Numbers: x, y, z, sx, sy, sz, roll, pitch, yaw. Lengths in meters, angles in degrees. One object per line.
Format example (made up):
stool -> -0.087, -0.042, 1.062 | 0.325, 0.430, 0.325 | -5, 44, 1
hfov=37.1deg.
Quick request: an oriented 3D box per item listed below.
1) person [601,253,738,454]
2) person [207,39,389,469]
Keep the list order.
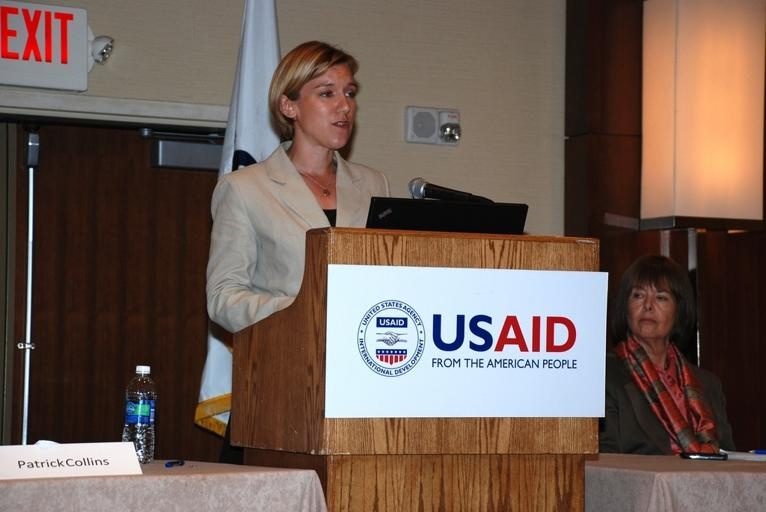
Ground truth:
person -> 1.309, 0.446, 5.265 | 0.564, 0.900, 0.577 | 1, -1, 16
person -> -0.363, -0.051, 4.459 | 0.468, 1.592, 0.718 | 0, -1, 36
